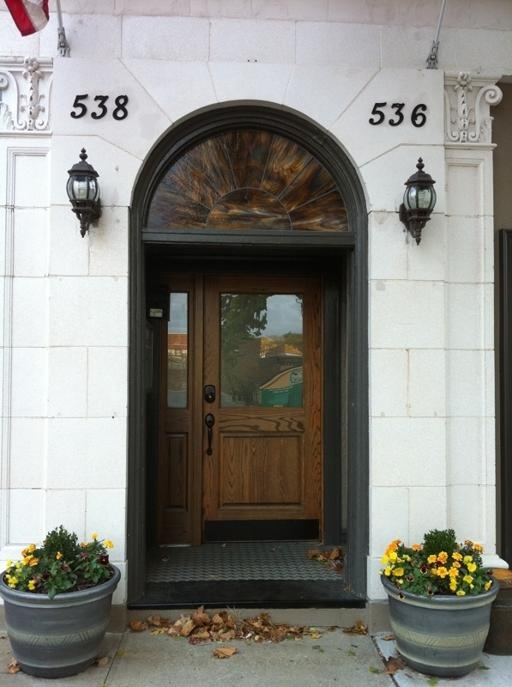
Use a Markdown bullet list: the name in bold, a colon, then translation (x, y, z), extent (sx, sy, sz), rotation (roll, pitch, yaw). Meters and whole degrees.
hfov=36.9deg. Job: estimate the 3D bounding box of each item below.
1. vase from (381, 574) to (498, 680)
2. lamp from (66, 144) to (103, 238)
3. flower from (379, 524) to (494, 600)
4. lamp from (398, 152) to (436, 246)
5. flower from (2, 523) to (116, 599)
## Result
- **vase**: translation (1.041, 1.595, 4.352), extent (0.557, 0.393, 0.537), rotation (1, -10, -7)
- **lamp**: translation (-1.081, -0.943, 4.848), extent (0.205, 0.546, 0.295), rotation (5, 11, 19)
- **flower**: translation (1.076, 1.270, 4.458), extent (0.419, 0.227, 0.403), rotation (-6, 10, -35)
- **lamp**: translation (1.059, -0.913, 4.966), extent (0.241, 0.549, 0.301), rotation (2, 10, 4)
- **flower**: translation (-1.100, 1.260, 4.369), extent (0.397, 0.220, 0.389), rotation (-1, 9, -37)
